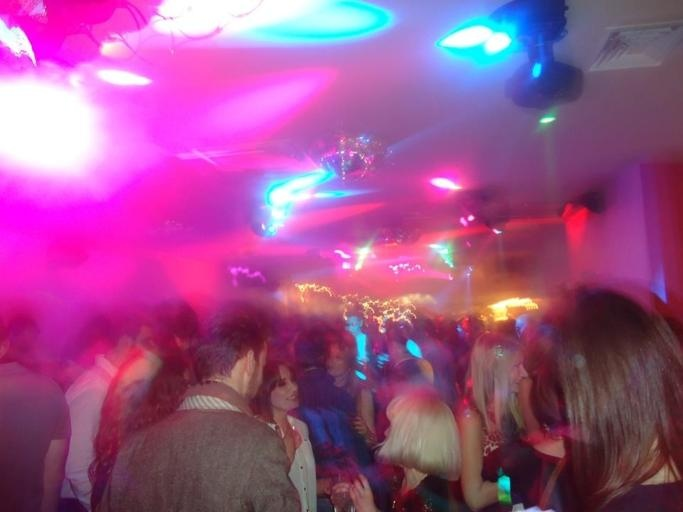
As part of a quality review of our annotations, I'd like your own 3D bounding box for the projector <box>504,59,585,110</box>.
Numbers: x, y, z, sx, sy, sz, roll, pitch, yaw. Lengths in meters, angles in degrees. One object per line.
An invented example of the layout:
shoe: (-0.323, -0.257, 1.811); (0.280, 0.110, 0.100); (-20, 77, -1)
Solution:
projector: (1.486, -1.247, 3.949); (0.438, 0.168, 0.329); (-10, -15, -5)
